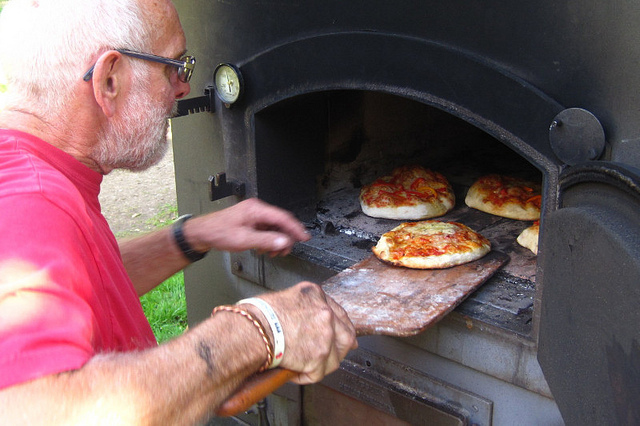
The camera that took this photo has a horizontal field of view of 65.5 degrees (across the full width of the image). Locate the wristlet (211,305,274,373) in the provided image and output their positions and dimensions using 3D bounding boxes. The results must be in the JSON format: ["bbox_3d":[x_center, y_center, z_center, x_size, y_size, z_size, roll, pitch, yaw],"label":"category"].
[{"bbox_3d":[-0.211,0.324,1.381,0.150,0.203,0.047,-20,-2,23],"label":"wristlet"}]

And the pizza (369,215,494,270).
[{"bbox_3d":[0.531,0.137,2.502,0.555,0.073,0.579,-13,18,-21],"label":"pizza"}]
